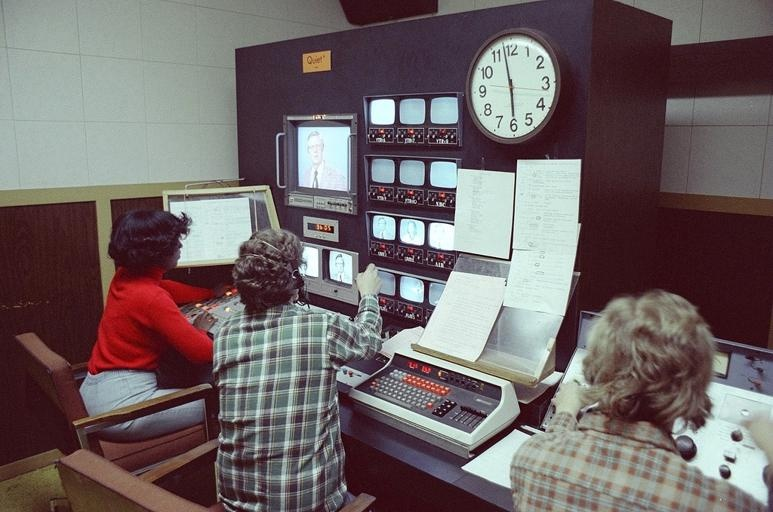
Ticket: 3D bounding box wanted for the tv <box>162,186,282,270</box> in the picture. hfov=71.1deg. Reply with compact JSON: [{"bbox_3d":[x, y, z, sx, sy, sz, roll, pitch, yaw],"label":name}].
[{"bbox_3d":[-1.073,-0.188,3.477,0.561,0.422,0.235,-2,6,-16],"label":"tv"}]
